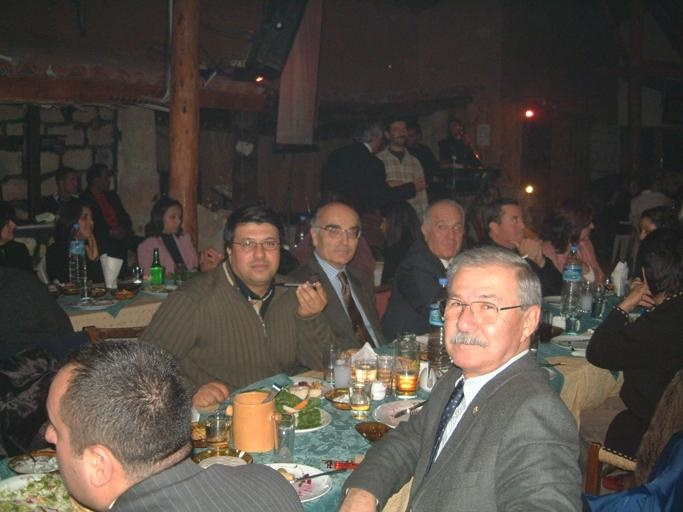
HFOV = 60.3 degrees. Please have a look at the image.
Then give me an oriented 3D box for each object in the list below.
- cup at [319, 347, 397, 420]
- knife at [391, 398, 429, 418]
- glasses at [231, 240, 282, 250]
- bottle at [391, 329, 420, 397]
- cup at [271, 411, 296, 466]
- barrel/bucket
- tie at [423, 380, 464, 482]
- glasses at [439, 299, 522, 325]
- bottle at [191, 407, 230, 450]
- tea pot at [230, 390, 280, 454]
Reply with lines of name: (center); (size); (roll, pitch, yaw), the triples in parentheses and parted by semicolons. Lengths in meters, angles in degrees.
cup: (0.095, 0.684, 3.216); (0.244, 0.134, 0.339); (4, 25, 8)
knife: (0.348, 0.772, 2.997); (0.231, 0.086, 0.044); (-11, -41, 5)
glasses: (-0.533, -0.069, 3.700); (0.281, 0.072, 0.074); (-2, 4, -12)
bottle: (0.384, 0.624, 3.411); (0.138, 0.282, 0.400); (-1, 4, 7)
cup: (-0.258, 0.801, 2.607); (0.097, 0.201, 0.091); (-1, 4, 0)
barrel/bucket: (-0.371, 0.769, 2.744); (0.289, 0.193, 0.172); (1, 2, 8)
tie: (0.444, 0.761, 2.530); (0.062, 0.421, 0.051); (29, -23, -9)
glasses: (0.605, 0.228, 2.500); (0.326, 0.099, 0.087); (-1, 4, 15)
bottle: (-0.625, 0.796, 2.773); (0.217, 0.213, 0.138); (2, 5, 1)
tea pot: (-0.398, 0.768, 2.710); (0.284, 0.191, 0.171); (2, 2, 26)
